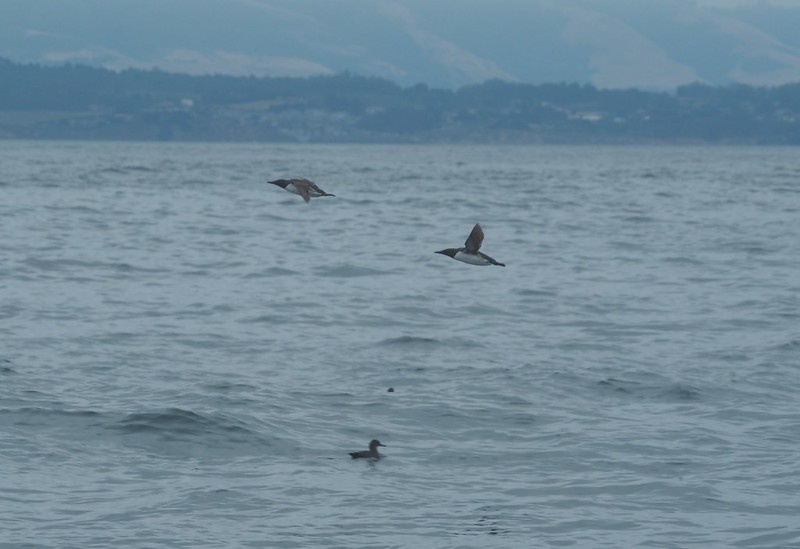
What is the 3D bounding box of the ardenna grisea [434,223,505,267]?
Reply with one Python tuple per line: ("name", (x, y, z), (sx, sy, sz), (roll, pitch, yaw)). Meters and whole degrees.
("ardenna grisea", (2.210, -1.011, 44.682), (2.087, 1.827, 0.567), (1, 82, 0))
